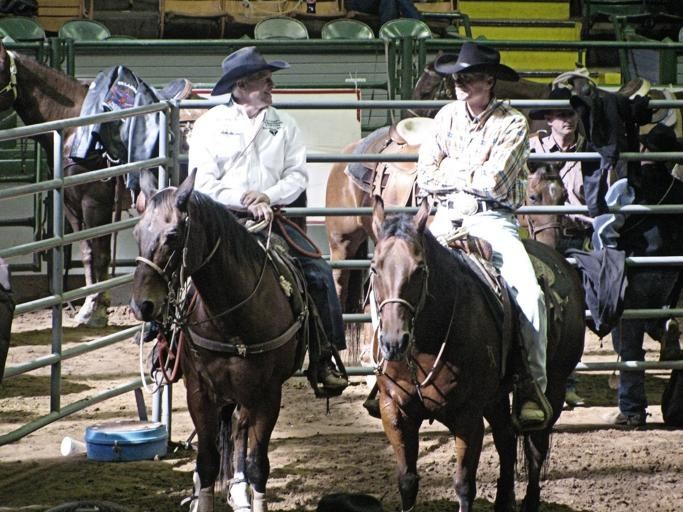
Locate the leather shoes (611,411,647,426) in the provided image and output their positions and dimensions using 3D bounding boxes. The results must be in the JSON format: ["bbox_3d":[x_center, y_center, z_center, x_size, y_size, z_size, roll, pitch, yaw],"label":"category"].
[{"bbox_3d":[2.866,1.603,16.779,0.370,0.165,0.141,5,1,29],"label":"leather shoes"}]

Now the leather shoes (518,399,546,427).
[{"bbox_3d":[1.686,1.390,14.837,0.156,0.138,0.279,-3,-29,4],"label":"leather shoes"}]

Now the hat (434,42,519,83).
[{"bbox_3d":[1.289,-1.737,15.115,0.502,0.206,0.433,12,2,-21],"label":"hat"}]

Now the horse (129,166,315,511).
[{"bbox_3d":[-1.054,0.767,14.820,1.755,3.052,0.582,-2,4,-38],"label":"horse"}]

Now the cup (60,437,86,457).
[{"bbox_3d":[-2.536,1.831,16.022,0.191,0.202,0.216,-16,-22,38],"label":"cup"}]
